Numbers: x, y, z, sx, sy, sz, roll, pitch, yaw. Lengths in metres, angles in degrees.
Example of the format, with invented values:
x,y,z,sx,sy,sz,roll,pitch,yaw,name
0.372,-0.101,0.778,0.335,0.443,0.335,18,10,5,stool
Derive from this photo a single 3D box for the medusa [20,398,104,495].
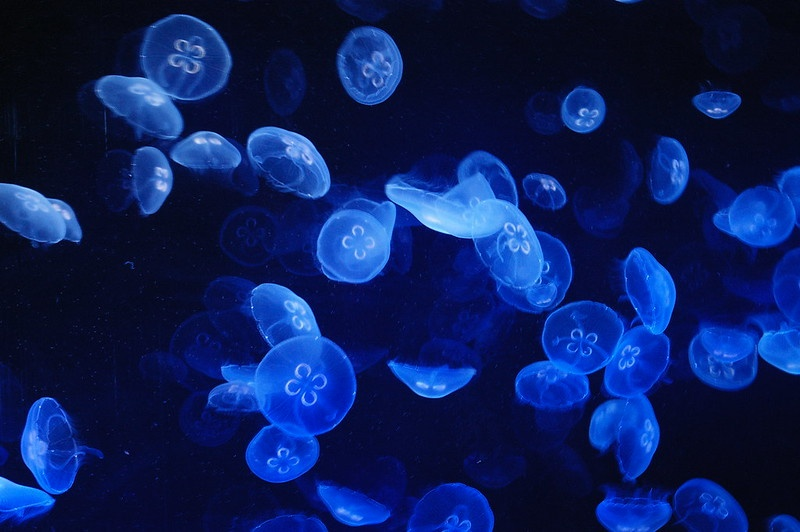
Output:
x,y,z,sx,sy,sz,roll,pitch,yaw,name
-2.848,1.460,7.550,0.695,0.595,0.360,21,-24,-37,medusa
